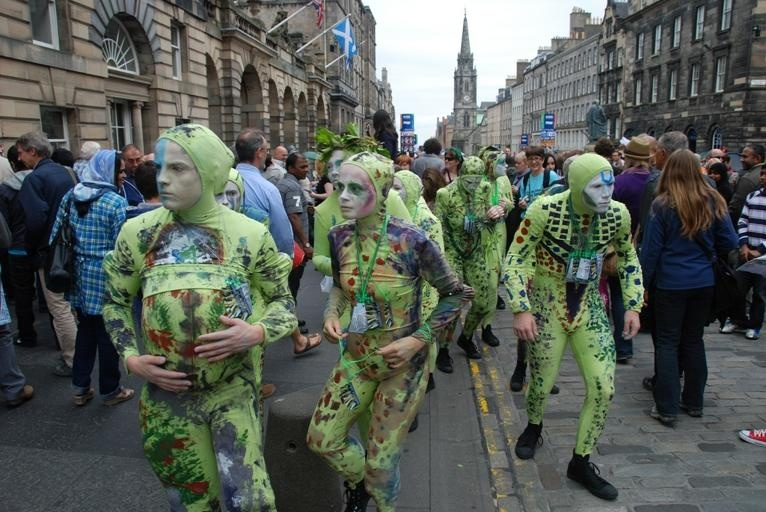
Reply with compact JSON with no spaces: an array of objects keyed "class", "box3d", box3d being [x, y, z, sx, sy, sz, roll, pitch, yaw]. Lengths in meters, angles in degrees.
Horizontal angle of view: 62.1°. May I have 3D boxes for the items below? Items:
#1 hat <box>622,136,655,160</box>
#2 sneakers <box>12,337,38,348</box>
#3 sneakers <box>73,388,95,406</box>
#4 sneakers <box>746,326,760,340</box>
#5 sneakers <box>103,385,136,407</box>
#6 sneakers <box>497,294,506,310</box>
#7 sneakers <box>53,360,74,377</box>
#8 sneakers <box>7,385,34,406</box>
[{"class":"hat","box3d":[3.570,-1.463,8.935,0.459,0.194,0.523,6,22,11]},{"class":"sneakers","box3d":[-5.163,1.239,9.125,0.358,0.126,0.142,9,-24,14]},{"class":"sneakers","box3d":[-3.553,1.673,7.524,0.117,0.115,0.279,2,10,7]},{"class":"sneakers","box3d":[5.528,1.171,9.514,0.116,0.120,0.299,0,0,35]},{"class":"sneakers","box3d":[-3.123,1.664,7.552,0.131,0.152,0.313,20,28,37]},{"class":"sneakers","box3d":[2.106,0.853,11.419,0.185,0.197,0.504,-3,-2,6]},{"class":"sneakers","box3d":[-4.202,1.491,8.302,0.142,0.160,0.380,9,-7,-43]},{"class":"sneakers","box3d":[-4.278,1.626,7.525,0.134,0.140,0.338,20,20,12]}]
